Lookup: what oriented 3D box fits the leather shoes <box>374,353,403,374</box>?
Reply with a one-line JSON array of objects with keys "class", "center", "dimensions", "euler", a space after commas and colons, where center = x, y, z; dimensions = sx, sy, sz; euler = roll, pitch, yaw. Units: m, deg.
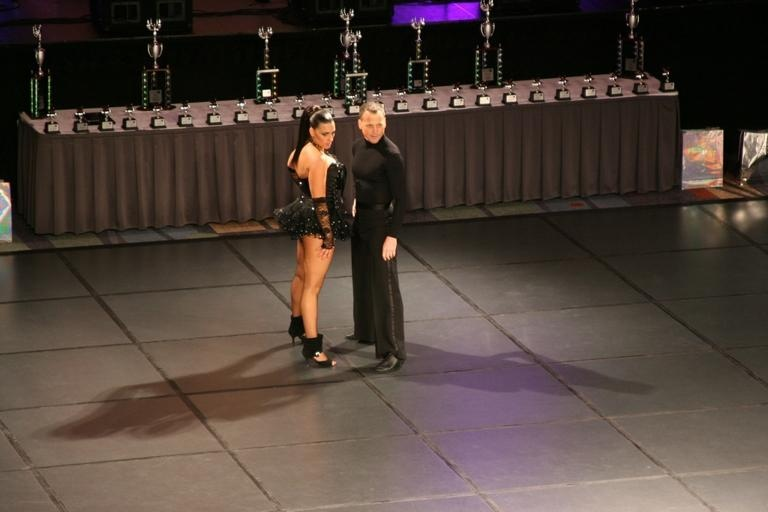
[{"class": "leather shoes", "center": [0.041, 0.957, 6.806], "dimensions": [0.130, 0.101, 0.263], "euler": [4, 4, 42]}]

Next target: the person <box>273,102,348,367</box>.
[{"class": "person", "center": [-0.648, -0.156, 6.761], "dimensions": [0.544, 2.268, 0.537], "euler": [11, 22, 38]}]

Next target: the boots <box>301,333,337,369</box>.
[{"class": "boots", "center": [-0.578, 0.850, 6.845], "dimensions": [0.320, 0.277, 0.134], "euler": [0, 11, 18]}]

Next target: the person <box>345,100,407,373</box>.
[{"class": "person", "center": [-0.042, -0.165, 6.746], "dimensions": [0.478, 2.322, 0.657], "euler": [-5, 17, -10]}]
